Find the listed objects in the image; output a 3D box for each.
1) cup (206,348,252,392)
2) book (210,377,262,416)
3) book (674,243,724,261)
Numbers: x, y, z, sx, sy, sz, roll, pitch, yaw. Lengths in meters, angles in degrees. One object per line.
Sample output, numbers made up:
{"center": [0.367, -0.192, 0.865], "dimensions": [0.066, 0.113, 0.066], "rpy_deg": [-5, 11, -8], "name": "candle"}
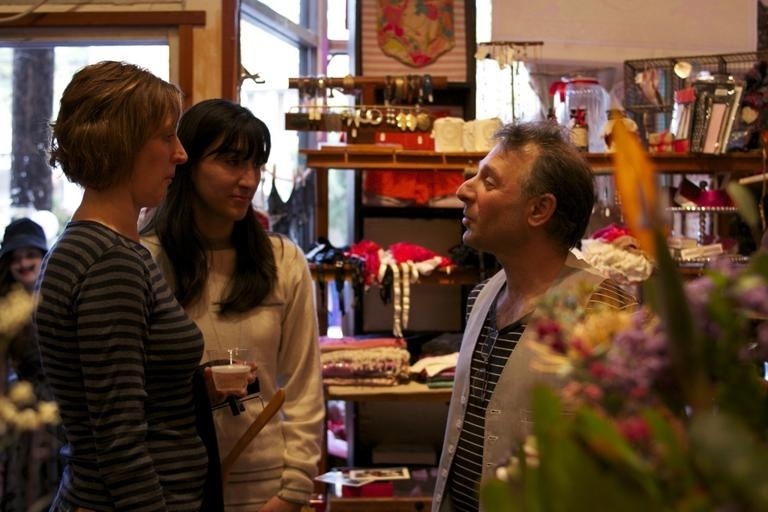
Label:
{"center": [-0.517, 0.378, 2.758], "dimensions": [0.136, 0.101, 0.138], "rpy_deg": [-1, -5, 0], "name": "cup"}
{"center": [-0.494, 0.483, 2.834], "dimensions": [0.125, 0.155, 0.115], "rpy_deg": [2, -4, -6], "name": "book"}
{"center": [1.600, -0.020, 4.081], "dimensions": [0.275, 0.082, 0.169], "rpy_deg": [-3, 5, -44], "name": "book"}
